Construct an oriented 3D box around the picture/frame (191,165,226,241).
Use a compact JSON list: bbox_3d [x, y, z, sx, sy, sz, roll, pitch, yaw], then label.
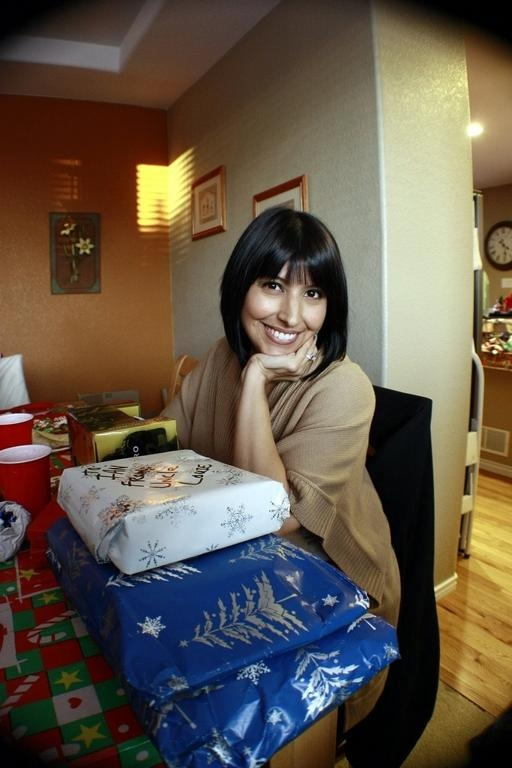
[{"bbox_3d":[-0.236,-0.916,2.717,0.034,0.467,0.474,0,2,-27],"label":"picture/frame"}]
